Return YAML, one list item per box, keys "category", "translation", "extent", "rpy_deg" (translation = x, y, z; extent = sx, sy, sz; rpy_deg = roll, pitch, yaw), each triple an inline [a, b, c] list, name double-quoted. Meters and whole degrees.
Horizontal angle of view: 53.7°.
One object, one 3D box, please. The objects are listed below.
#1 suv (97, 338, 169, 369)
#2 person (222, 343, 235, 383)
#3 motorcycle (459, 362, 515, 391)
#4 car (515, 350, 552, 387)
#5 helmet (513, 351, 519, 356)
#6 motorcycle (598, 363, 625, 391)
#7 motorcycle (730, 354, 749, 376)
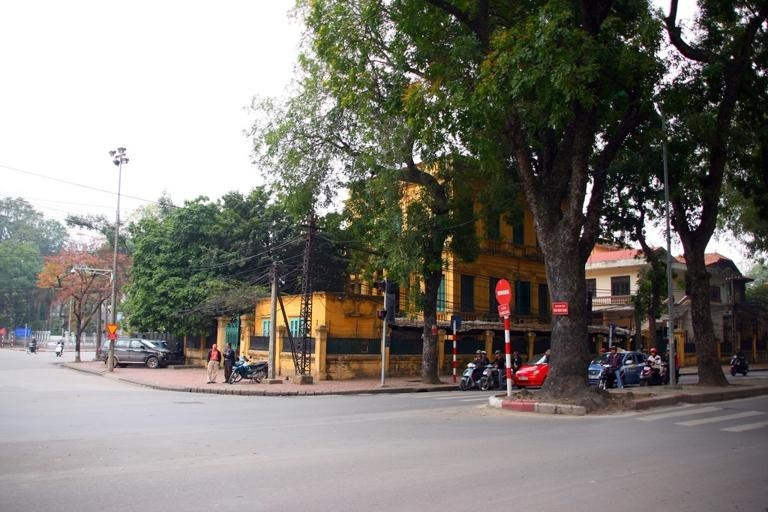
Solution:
- category: "suv"
  translation: [-15.550, 6.058, 47.312]
  extent: [3.867, 1.685, 1.859]
  rpy_deg: [-1, -6, -6]
- category: "person"
  translation: [-7.267, 5.022, 35.751]
  extent: [0.470, 1.879, 0.949]
  rpy_deg: [3, -11, -11]
- category: "motorcycle"
  translation: [4.537, 5.526, 34.487]
  extent: [2.101, 1.229, 0.979]
  rpy_deg: [8, -19, -20]
- category: "car"
  translation: [6.627, 5.108, 34.281]
  extent: [1.556, 1.649, 1.408]
  rpy_deg: [-1, -12, 8]
- category: "helmet"
  translation: [7.752, 5.679, 44.490]
  extent: [0.378, 0.193, 0.564]
  rpy_deg: [0, -3, 25]
- category: "motorcycle"
  translation: [9.995, 5.302, 33.364]
  extent: [1.276, 0.845, 1.854]
  rpy_deg: [-3, -19, 12]
- category: "motorcycle"
  translation: [21.963, 6.718, 47.127]
  extent: [2.067, 1.245, 1.002]
  rpy_deg: [14, -18, -43]
